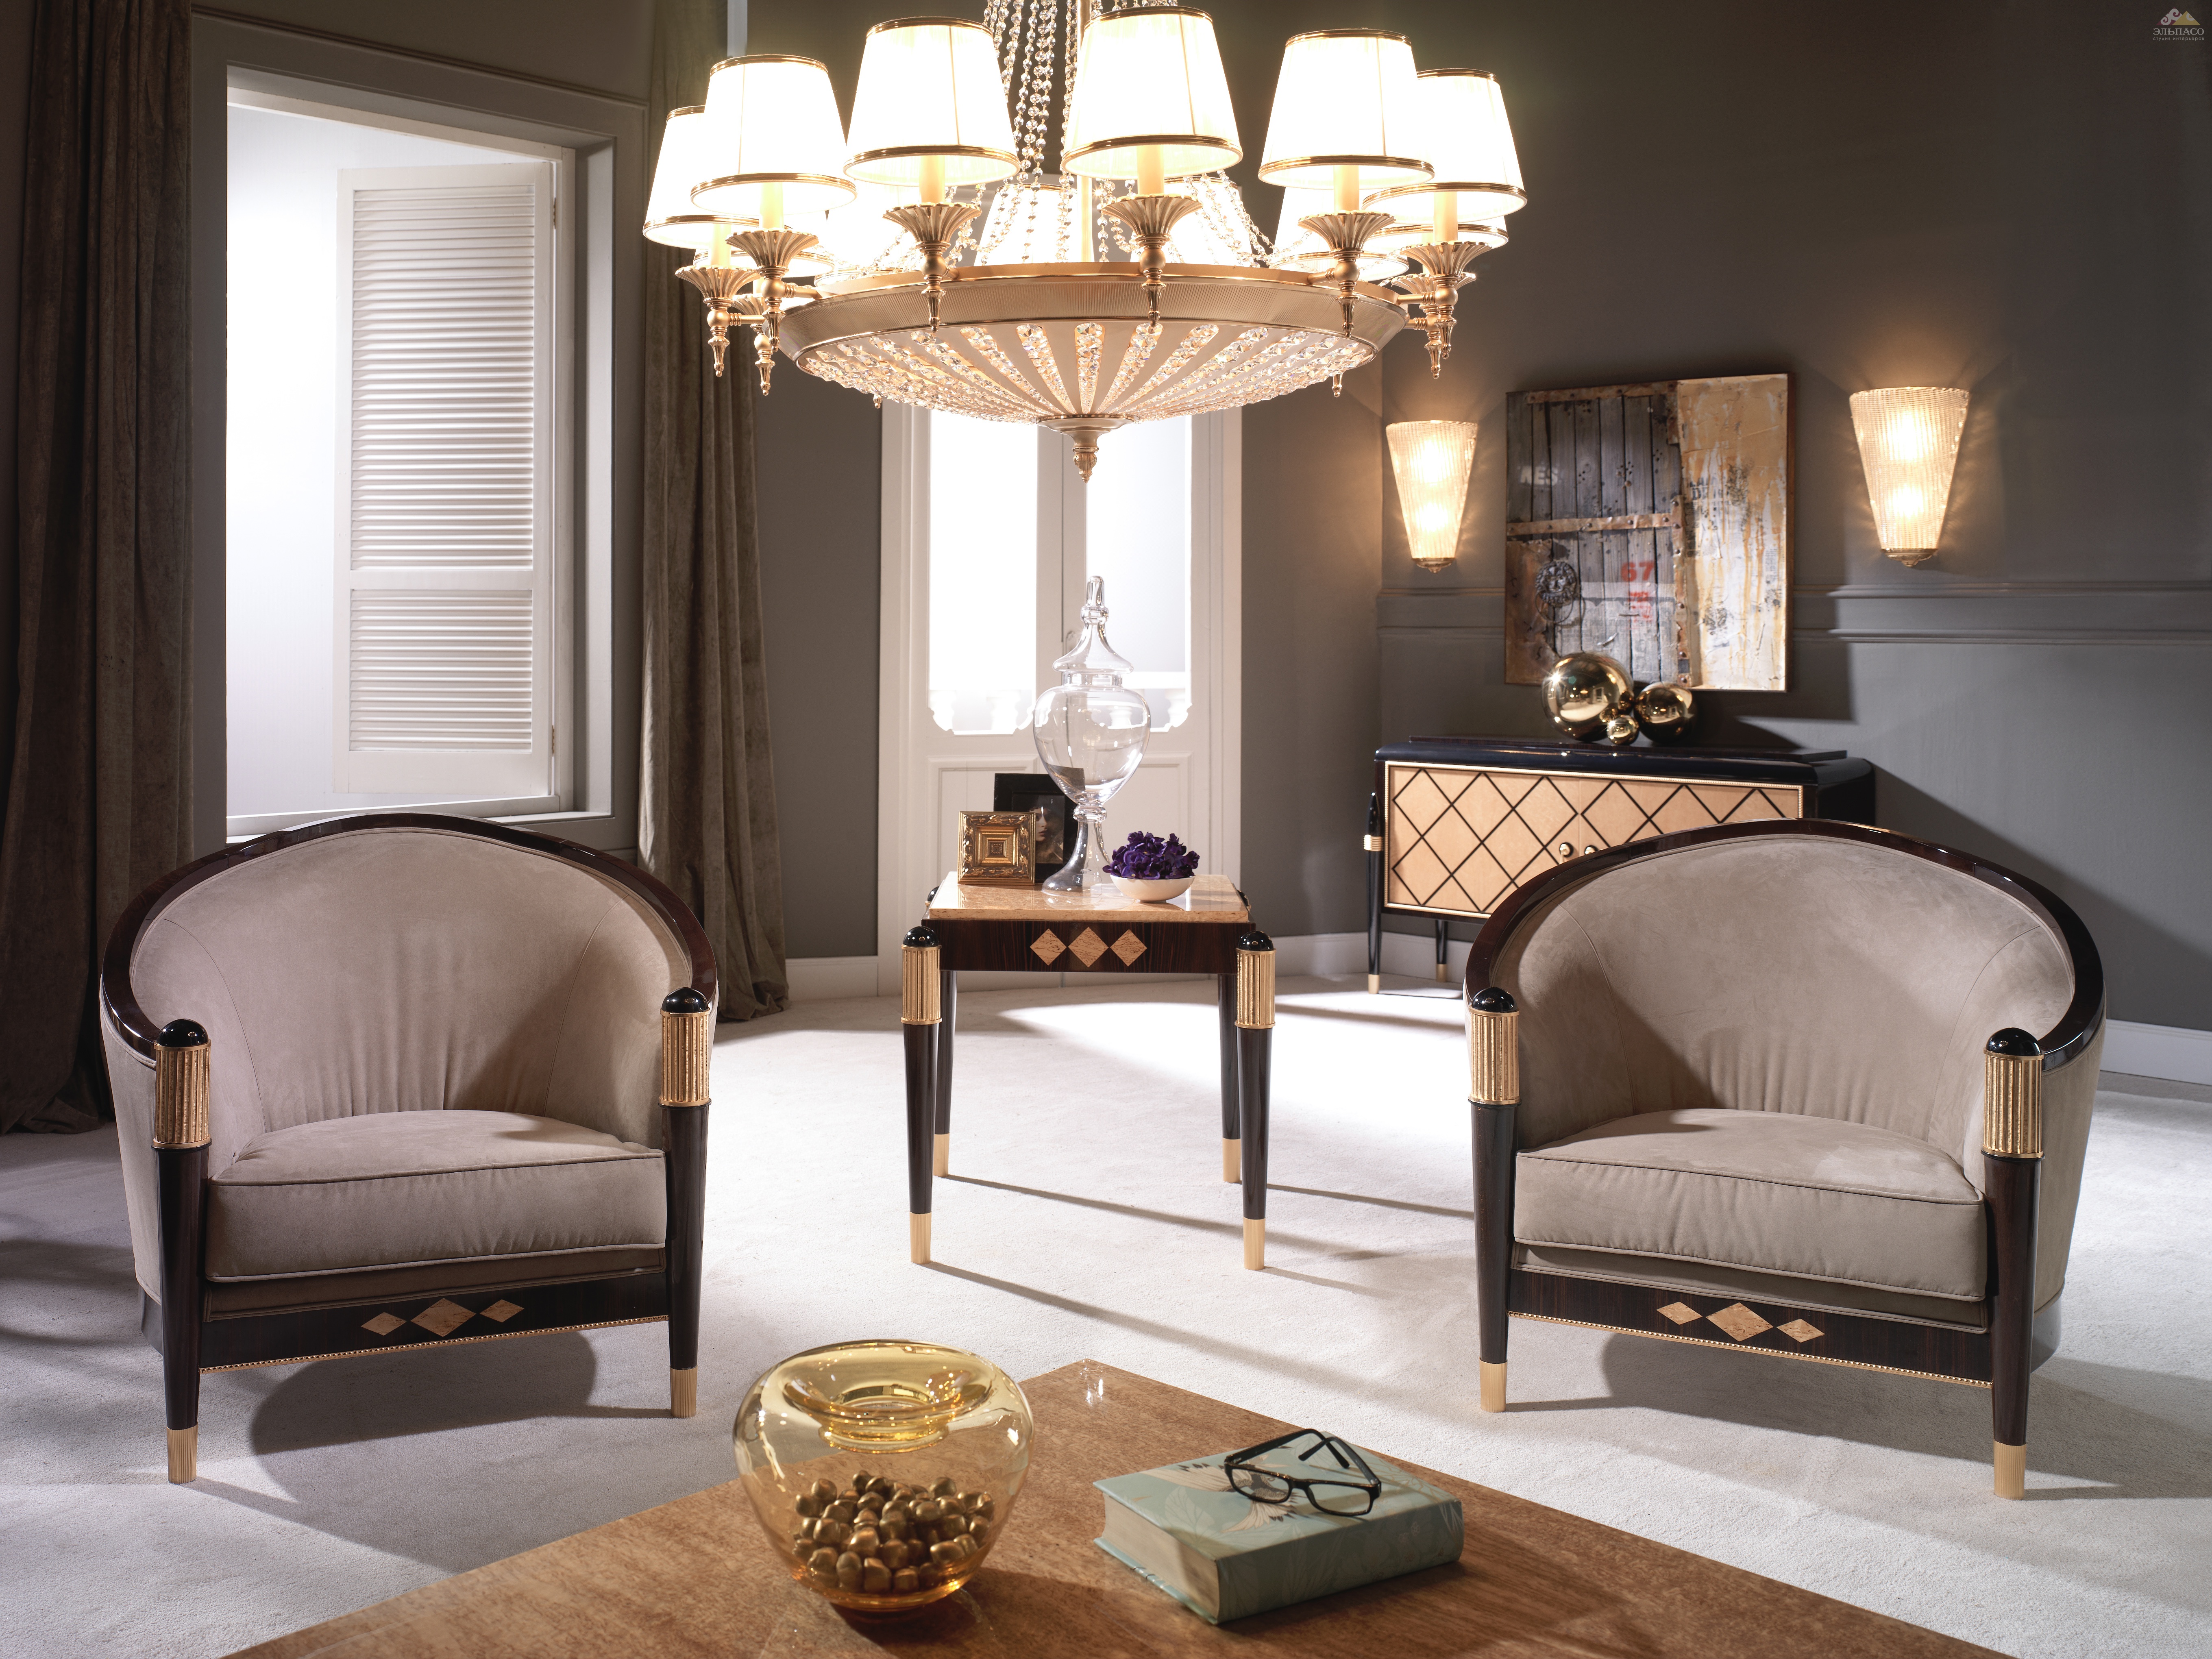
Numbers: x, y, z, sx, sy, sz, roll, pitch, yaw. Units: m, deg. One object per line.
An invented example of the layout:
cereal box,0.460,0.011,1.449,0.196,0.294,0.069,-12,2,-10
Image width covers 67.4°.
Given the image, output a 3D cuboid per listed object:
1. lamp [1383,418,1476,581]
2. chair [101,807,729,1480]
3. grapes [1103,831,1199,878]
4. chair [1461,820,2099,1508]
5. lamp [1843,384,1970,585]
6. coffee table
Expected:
lamp,1.324,-1.334,6.801,0.447,0.607,0.446,3,-3,11
chair,-1.300,0.499,3.098,1.038,0.956,0.955,2,6,-30
grapes,0.101,0.070,3.774,0.130,0.075,0.131,-1,0,36
chair,1.264,0.500,3.108,1.066,0.918,0.882,1,5,33
lamp,2.808,-1.187,5.707,0.432,0.557,0.440,1,5,-18
coffee table,-0.036,0.515,4.015,0.812,0.822,0.981,0,11,0
